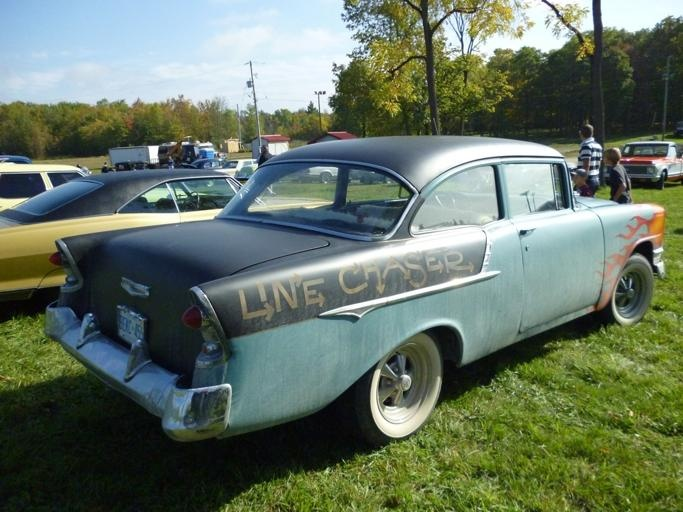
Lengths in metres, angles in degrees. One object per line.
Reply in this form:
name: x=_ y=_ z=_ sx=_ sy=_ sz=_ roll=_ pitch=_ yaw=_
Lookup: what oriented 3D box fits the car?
car: x=0.447 y=0.191 z=3.974 sx=4.498 sy=1.625 sz=2.215 roll=-12 pitch=15 yaw=-36
